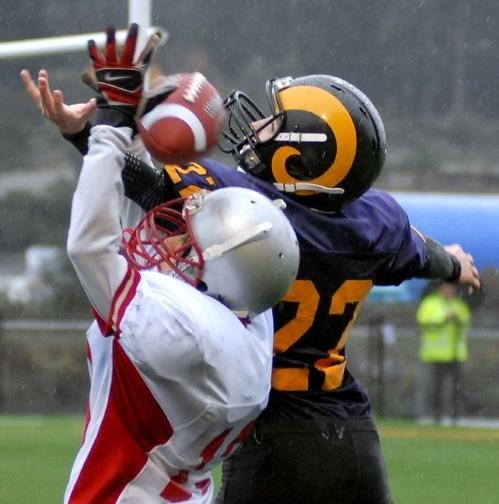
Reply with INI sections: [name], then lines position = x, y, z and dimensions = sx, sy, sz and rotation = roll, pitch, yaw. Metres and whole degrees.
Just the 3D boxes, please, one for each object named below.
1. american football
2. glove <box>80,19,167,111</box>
[american football]
position = -0.322, -0.723, 7.925
dimensions = 0.330, 0.401, 0.463
rotation = 12, 22, 6
[glove]
position = -0.678, -0.893, 7.767
dimensions = 0.417, 0.545, 0.106
rotation = -4, -20, -8
